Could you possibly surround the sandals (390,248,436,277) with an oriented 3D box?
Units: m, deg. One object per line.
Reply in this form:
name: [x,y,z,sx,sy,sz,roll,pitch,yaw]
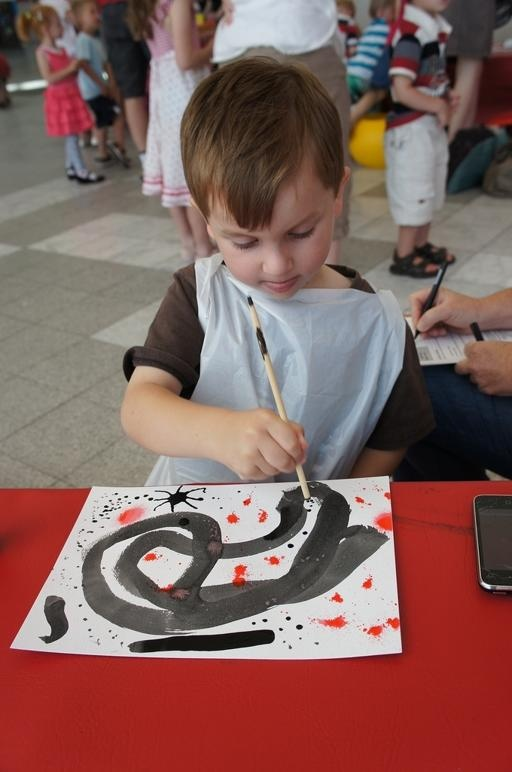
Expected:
sandals: [0.670,-0.512,2.929,0.198,0.096,0.095,9,39,14]
